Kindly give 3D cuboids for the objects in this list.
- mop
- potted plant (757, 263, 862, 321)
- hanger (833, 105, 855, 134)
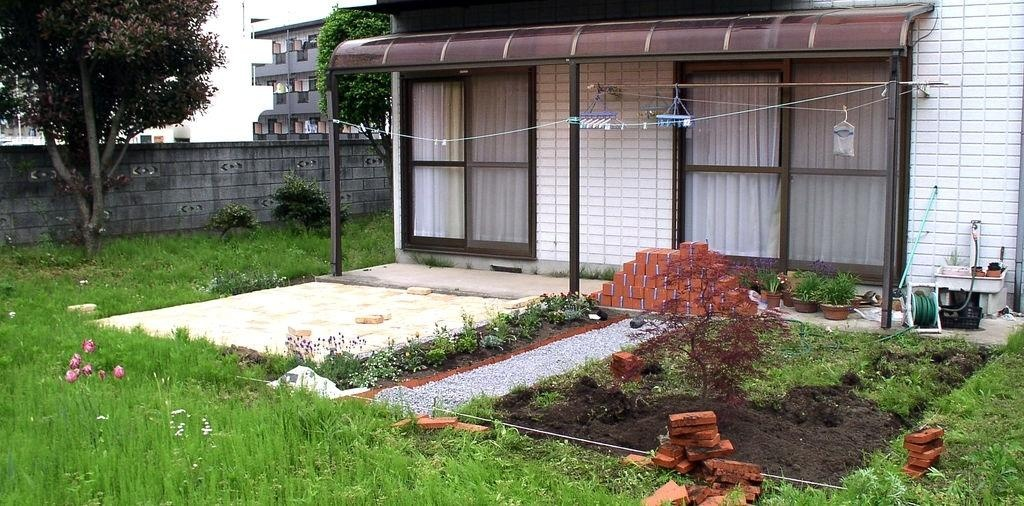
[{"bbox_3d":[7.072,-0.298,13.773,0.619,1.803,0.195,0,6,-14],"label":"mop"},{"bbox_3d":[5.093,0.701,13.843,1.630,0.720,0.809,4,7,29],"label":"potted plant"},{"bbox_3d":[5.905,-2.363,14.019,0.356,0.582,0.263,3,6,20],"label":"hanger"}]
